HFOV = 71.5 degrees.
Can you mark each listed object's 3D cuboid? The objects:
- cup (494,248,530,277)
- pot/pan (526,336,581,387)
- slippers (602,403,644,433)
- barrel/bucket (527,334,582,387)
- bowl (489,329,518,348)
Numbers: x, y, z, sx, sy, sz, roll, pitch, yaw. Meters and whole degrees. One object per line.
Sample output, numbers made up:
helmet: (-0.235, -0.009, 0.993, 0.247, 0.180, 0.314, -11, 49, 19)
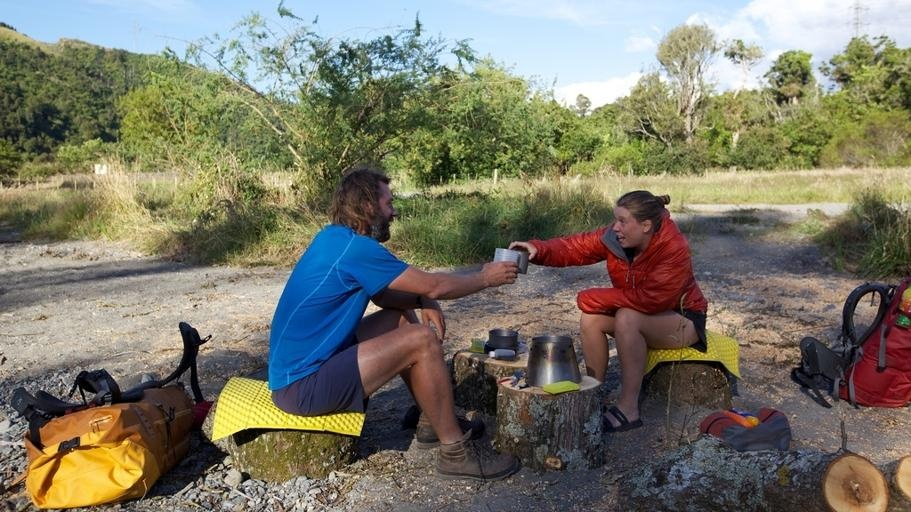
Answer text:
cup: (0.674, 0.041, 7.229, 0.311, 0.203, 0.320, 11, -8, 2)
pot/pan: (1.074, 1.120, 6.966, 0.536, 0.387, 0.540, 0, 1, -3)
slippers: (1.917, 1.891, 7.305, 0.469, 0.191, 0.245, 1, -3, -8)
barrel/bucket: (1.093, 1.165, 7.142, 0.674, 0.490, 0.676, -3, 2, 0)
bowl: (0.580, 1.004, 7.708, 0.249, 0.117, 0.254, 0, 1, 0)
